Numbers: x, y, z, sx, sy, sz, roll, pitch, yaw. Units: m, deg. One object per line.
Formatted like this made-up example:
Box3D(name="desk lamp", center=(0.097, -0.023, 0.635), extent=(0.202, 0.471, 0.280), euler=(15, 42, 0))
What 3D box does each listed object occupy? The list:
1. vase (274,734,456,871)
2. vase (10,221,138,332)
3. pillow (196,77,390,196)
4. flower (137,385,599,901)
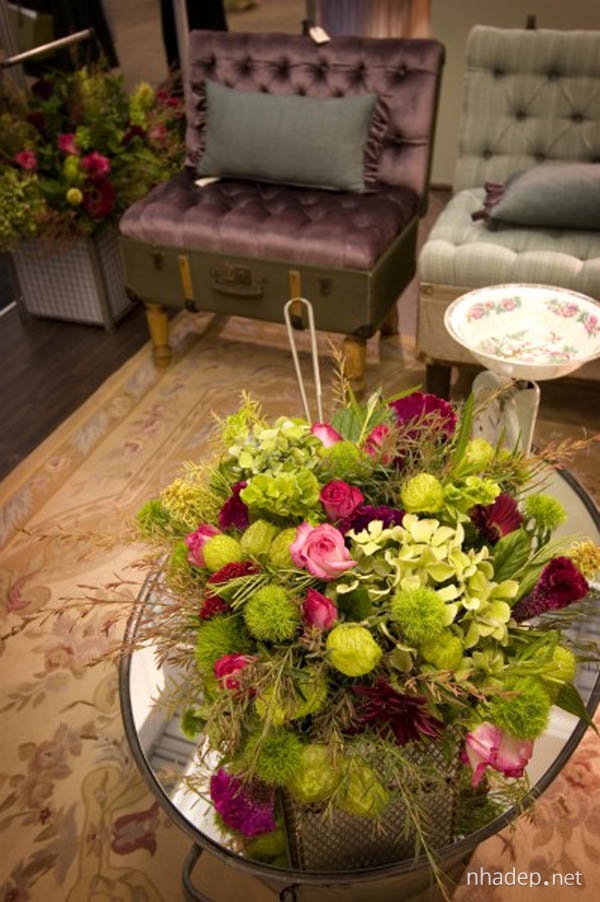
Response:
Box3D(name="vase", center=(0.065, 0.340, 0.608), extent=(0.145, 0.095, 0.147), euler=(-10, 4, -16))
Box3D(name="vase", center=(-0.819, -0.597, 2.334), extent=(0.349, 0.325, 0.362), euler=(19, 54, 45))
Box3D(name="pillow", center=(-0.062, -1.008, 2.037), extent=(0.573, 0.296, 0.168), euler=(12, 36, 19))
Box3D(name="flower", center=(0.089, 0.150, 0.682), extent=(0.340, 0.444, 0.477), euler=(22, 38, -27))
